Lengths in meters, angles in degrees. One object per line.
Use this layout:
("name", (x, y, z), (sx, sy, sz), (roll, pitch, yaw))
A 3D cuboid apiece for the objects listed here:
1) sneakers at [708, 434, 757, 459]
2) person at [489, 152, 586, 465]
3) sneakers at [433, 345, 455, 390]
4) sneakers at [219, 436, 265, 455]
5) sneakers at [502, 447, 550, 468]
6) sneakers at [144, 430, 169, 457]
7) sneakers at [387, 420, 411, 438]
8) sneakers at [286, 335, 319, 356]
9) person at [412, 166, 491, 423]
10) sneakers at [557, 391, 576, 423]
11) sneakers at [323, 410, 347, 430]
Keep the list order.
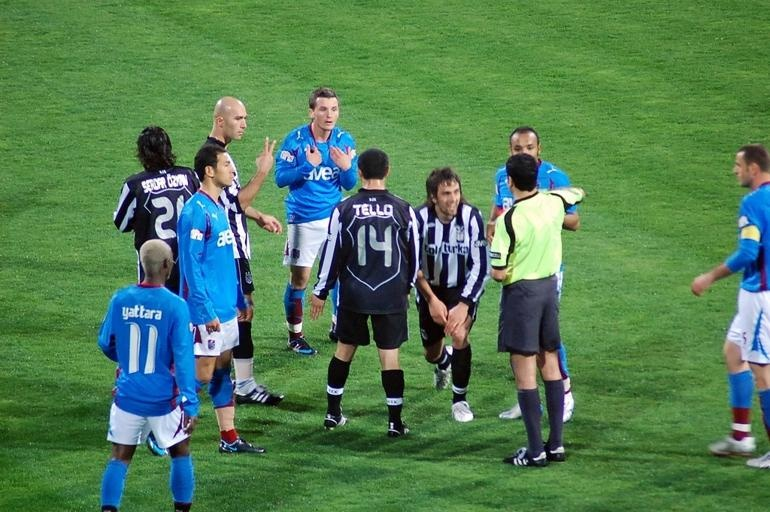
("sneakers", (3.933, 2.150, 15.917), (0.487, 0.189, 0.224), (2, -1, 13))
("person", (1.661, 0.794, 15.893), (0.966, 3.097, 0.561), (0, 7, -8))
("sneakers", (0.707, 1.336, 17.238), (0.212, 0.537, 0.255), (6, 12, -13))
("sneakers", (-1.629, 2.166, 16.146), (0.557, 0.199, 0.185), (1, 0, -6))
("sneakers", (1.613, 2.272, 15.955), (0.543, 0.196, 0.191), (2, -1, 15))
("sneakers", (-2.466, 2.032, 15.388), (0.151, 0.381, 0.182), (-29, 16, -24))
("sneakers", (0.158, 2.004, 16.342), (0.118, 0.122, 0.307), (4, 9, 21))
("sneakers", (-1.018, 1.129, 17.883), (0.366, 0.147, 0.202), (13, 25, 33))
("person", (0.790, 0.429, 16.614), (0.878, 2.998, 0.733), (7, 9, 39))
("sneakers", (2.143, 1.770, 16.574), (0.157, 0.384, 0.186), (1, -7, 7))
("sneakers", (-0.579, 1.927, 16.484), (0.122, 0.140, 0.337), (7, 12, 29))
